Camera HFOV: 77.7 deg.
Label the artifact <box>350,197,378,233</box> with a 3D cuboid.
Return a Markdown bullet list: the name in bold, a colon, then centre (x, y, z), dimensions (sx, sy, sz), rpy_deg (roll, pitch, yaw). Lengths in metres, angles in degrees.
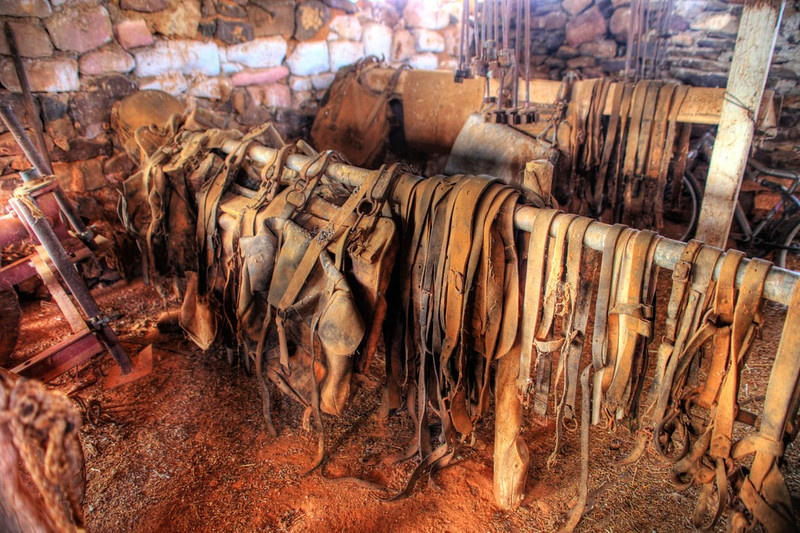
- **artifact**: centre (-0.193, -0.285, 2.949), dimensions (0.136, 0.206, 0.148), rpy_deg (9, -10, 19)

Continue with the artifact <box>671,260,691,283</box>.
- **artifact**: centre (1.334, 0.028, 2.337), dimensions (0.073, 0.108, 0.038), rpy_deg (12, 0, 29)

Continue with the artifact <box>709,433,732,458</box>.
- **artifact**: centre (1.553, 0.868, 2.395), dimensions (0.088, 0.139, 0.028), rpy_deg (7, 25, 14)

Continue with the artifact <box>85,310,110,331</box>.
- **artifact**: centre (-2.148, 0.400, 3.505), dimensions (0.125, 0.138, 0.038), rpy_deg (-12, 18, -23)
